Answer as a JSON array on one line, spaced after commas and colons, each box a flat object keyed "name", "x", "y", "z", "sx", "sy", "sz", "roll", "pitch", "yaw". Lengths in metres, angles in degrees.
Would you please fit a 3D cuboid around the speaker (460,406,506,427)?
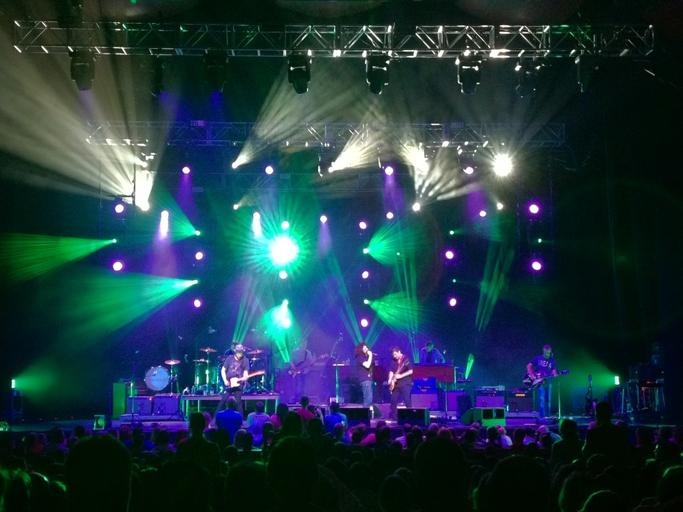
[{"name": "speaker", "x": 3.150, "y": 3.659, "z": 16.069, "sx": 1.186, "sy": 0.576, "sz": 0.881, "roll": -5, "pitch": -10, "yaw": 27}]

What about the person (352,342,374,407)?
[{"name": "person", "x": 0.607, "y": 3.067, "z": 18.378, "sx": 0.468, "sy": 1.592, "sz": 0.596, "roll": -2, "pitch": -15, "yaw": 2}]

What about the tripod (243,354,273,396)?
[{"name": "tripod", "x": -2.301, "y": 3.283, "z": 19.994, "sx": 0.931, "sy": 0.998, "sz": 0.961, "roll": 0, "pitch": -3, "yaw": 41}]

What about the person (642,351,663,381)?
[{"name": "person", "x": 7.540, "y": 2.674, "z": 16.993, "sx": 0.579, "sy": 0.774, "sz": 0.780, "roll": -1, "pitch": -12, "yaw": 19}]

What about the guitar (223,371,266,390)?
[{"name": "guitar", "x": -2.607, "y": 3.242, "z": 18.455, "sx": 0.804, "sy": 0.286, "sz": 0.105, "roll": -14, "pitch": -21, "yaw": -24}]

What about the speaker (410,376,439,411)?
[{"name": "speaker", "x": 2.281, "y": 3.716, "z": 18.971, "sx": 0.930, "sy": 1.003, "sz": 0.247, "roll": 6, "pitch": -35, "yaw": 2}]

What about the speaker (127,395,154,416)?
[{"name": "speaker", "x": -5.387, "y": 3.974, "z": 18.769, "sx": 0.810, "sy": 0.445, "sz": 0.695, "roll": 5, "pitch": -10, "yaw": -8}]

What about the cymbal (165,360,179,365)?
[{"name": "cymbal", "x": -4.797, "y": 2.985, "z": 19.793, "sx": 0.281, "sy": 0.068, "sz": 0.275, "roll": -2, "pitch": 3, "yaw": -37}]

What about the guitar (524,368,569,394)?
[{"name": "guitar", "x": 5.186, "y": 3.047, "z": 18.066, "sx": 1.013, "sy": 0.659, "sz": 0.684, "roll": -10, "pitch": -18, "yaw": 29}]

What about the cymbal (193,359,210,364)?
[{"name": "cymbal", "x": -4.061, "y": 3.006, "z": 20.162, "sx": 0.303, "sy": 0.088, "sz": 0.304, "roll": 2, "pitch": -7, "yaw": 2}]

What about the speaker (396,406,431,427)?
[{"name": "speaker", "x": 1.574, "y": 3.495, "z": 15.393, "sx": 0.590, "sy": 0.361, "sz": 0.586, "roll": 1, "pitch": -23, "yaw": 4}]

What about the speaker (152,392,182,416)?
[{"name": "speaker", "x": -4.671, "y": 3.959, "z": 18.563, "sx": 0.898, "sy": 0.489, "sz": 0.626, "roll": 5, "pitch": 12, "yaw": 3}]

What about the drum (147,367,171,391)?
[{"name": "drum", "x": -5.117, "y": 3.357, "z": 19.535, "sx": 0.703, "sy": 0.688, "sz": 0.628, "roll": 3, "pitch": -16, "yaw": -15}]

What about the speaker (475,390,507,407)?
[{"name": "speaker", "x": 3.768, "y": 3.608, "z": 17.832, "sx": 0.718, "sy": 0.392, "sz": 0.486, "roll": -2, "pitch": -3, "yaw": 6}]
